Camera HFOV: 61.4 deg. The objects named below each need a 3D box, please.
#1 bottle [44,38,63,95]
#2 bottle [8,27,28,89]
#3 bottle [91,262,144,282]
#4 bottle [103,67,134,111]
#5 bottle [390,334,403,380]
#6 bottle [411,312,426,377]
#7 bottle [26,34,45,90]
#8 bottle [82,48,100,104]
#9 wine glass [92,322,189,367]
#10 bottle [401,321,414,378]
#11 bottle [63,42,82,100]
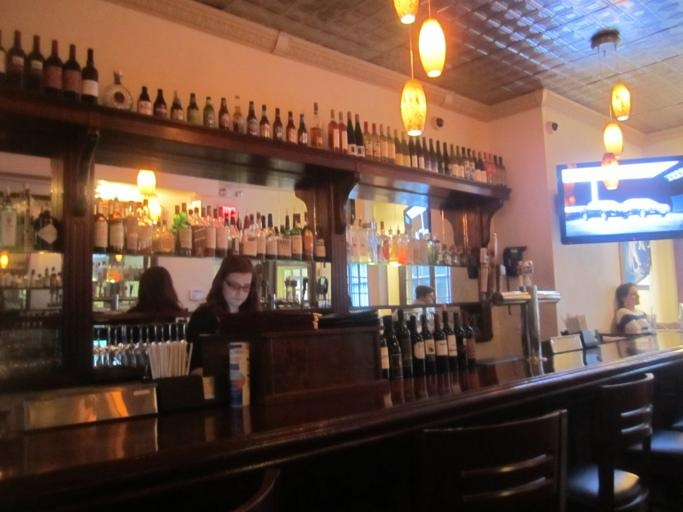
[{"bbox_3d":[-1.537,-1.027,3.088,0.093,0.345,0.198,0,-4,-20],"label":"bottle"},{"bbox_3d":[-1.725,-1.053,3.065,0.094,0.357,0.230,1,-4,-29],"label":"bottle"},{"bbox_3d":[-1.288,0.095,3.344,0.032,0.106,0.288,-5,-4,43],"label":"bottle"},{"bbox_3d":[-1.245,-0.930,3.224,0.147,0.259,0.209,-2,-3,9],"label":"bottle"},{"bbox_3d":[0.288,0.512,2.956,0.055,0.209,0.122,-2,-3,15],"label":"bottle"},{"bbox_3d":[0.416,0.482,3.073,0.072,0.288,0.170,-2,-3,8],"label":"bottle"},{"bbox_3d":[-1.632,-1.041,3.071,0.081,0.317,0.139,1,-4,-28],"label":"bottle"},{"bbox_3d":[-1.362,-0.986,3.130,0.086,0.369,0.241,0,-4,-23],"label":"bottle"},{"bbox_3d":[-1.102,0.473,3.066,0.302,0.200,0.165,3,-5,-40],"label":"wine glass"},{"bbox_3d":[0.353,0.490,3.050,0.058,0.270,0.175,-2,-3,7],"label":"bottle"},{"bbox_3d":[-1.479,-1.028,3.173,0.088,0.381,0.270,1,-4,-26],"label":"bottle"}]
